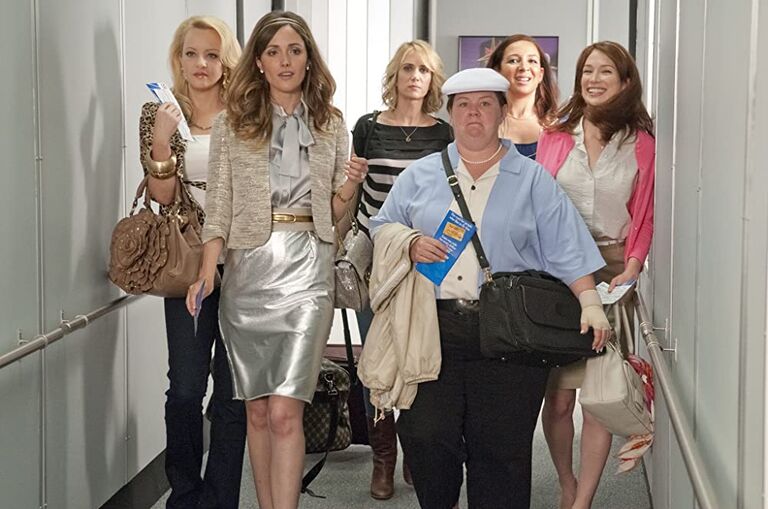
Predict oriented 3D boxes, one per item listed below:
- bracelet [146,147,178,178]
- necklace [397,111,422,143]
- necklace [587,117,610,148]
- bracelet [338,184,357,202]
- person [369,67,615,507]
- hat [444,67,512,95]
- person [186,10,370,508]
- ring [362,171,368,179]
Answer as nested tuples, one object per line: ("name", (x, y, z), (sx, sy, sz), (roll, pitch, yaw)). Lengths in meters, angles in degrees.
("bracelet", (-1.223, -0.486, 3.432), (0.147, 0.087, 0.161), (1, 39, -5))
("necklace", (0.169, -0.839, 4.118), (0.135, 0.199, 0.046), (-1, -18, -2))
("necklace", (1.177, -0.670, 3.425), (0.043, 0.150, 0.105), (-15, -1, -38))
("bracelet", (-0.185, -0.316, 3.141), (0.072, 0.054, 0.096), (29, -34, -8))
("person", (0.429, 0.182, 2.874), (1.085, 2.039, 0.470), (0, 9, 1))
("hat", (0.419, -0.790, 2.833), (0.293, 0.126, 0.180), (1, 10, 5))
("person", (-0.542, 0.015, 3.097), (0.602, 2.378, 0.779), (3, 10, 20))
("ring", (-0.095, -0.405, 3.116), (0.035, 0.049, 0.015), (1, -7, -25))
